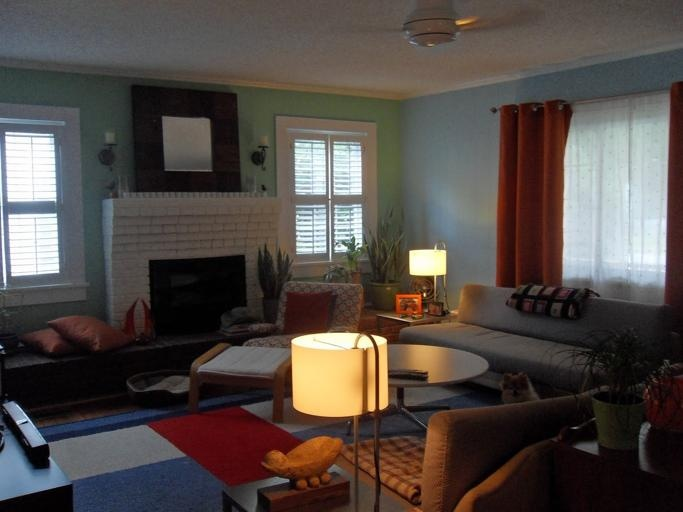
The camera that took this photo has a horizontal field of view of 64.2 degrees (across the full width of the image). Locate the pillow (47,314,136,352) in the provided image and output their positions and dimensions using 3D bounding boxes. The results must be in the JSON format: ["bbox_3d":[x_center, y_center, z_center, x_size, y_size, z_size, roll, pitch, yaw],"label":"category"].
[{"bbox_3d":[-2.115,0.674,4.676,0.422,0.141,0.376,21,5,33],"label":"pillow"}]

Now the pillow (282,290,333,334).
[{"bbox_3d":[-0.303,0.526,5.038,0.471,0.377,0.311,0,8,5],"label":"pillow"}]

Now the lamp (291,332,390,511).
[{"bbox_3d":[-0.009,0.693,2.274,0.399,0.820,0.411,0,8,3],"label":"lamp"}]

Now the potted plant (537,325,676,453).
[{"bbox_3d":[1.117,0.549,2.251,0.439,0.476,0.350,-3,-6,24],"label":"potted plant"}]

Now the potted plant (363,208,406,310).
[{"bbox_3d":[0.521,0.029,6.651,0.514,1.154,0.789,0,8,7],"label":"potted plant"}]

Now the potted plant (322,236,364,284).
[{"bbox_3d":[0.044,0.063,6.459,0.673,0.563,0.310,-6,10,-37],"label":"potted plant"}]

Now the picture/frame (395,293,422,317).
[{"bbox_3d":[0.674,0.500,5.436,0.211,0.179,0.080,0,-3,15],"label":"picture/frame"}]

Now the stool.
[{"bbox_3d":[-0.742,0.981,4.486,0.943,0.369,1.049,1,3,-7],"label":"stool"}]

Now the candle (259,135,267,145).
[{"bbox_3d":[-0.845,-1.250,5.903,0.081,0.113,0.206,-2,8,-8],"label":"candle"}]

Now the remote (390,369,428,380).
[{"bbox_3d":[0.439,0.781,3.559,0.252,0.037,0.163,-1,7,-1],"label":"remote"}]

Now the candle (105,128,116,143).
[{"bbox_3d":[-2.191,-1.144,5.209,0.134,0.138,0.137,-4,8,-25],"label":"candle"}]

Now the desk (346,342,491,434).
[{"bbox_3d":[0.425,1.035,4.214,1.335,0.528,1.344,-16,-18,40],"label":"desk"}]
